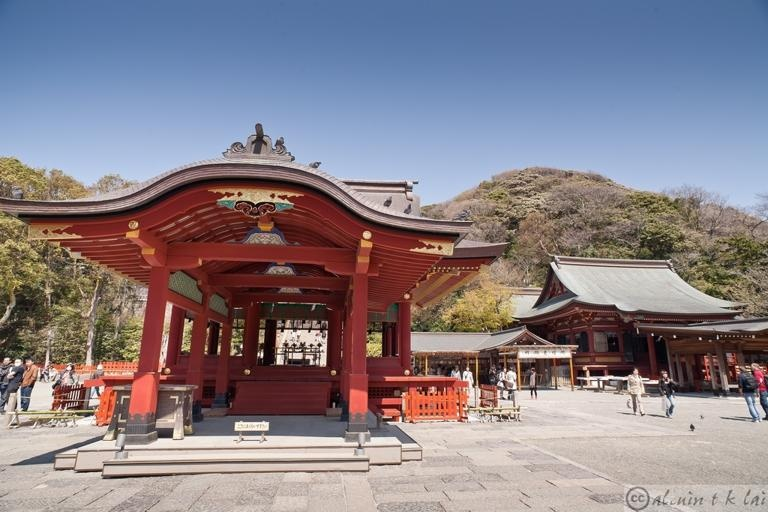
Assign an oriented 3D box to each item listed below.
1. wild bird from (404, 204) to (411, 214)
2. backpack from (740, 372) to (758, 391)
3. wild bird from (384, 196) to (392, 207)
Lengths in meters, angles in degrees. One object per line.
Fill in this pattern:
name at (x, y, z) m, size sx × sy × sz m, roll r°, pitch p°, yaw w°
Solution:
wild bird at (0.869, -1.768, 17.661) m, size 0.256 × 0.401 × 0.218 m, roll -1°, pitch -18°, yaw -10°
backpack at (13.712, 4.792, 17.981) m, size 0.503 × 0.751 × 0.464 m, roll -11°, pitch -19°, yaw 23°
wild bird at (0.118, -2.009, 17.698) m, size 0.114 × 0.327 × 0.399 m, roll 31°, pitch -43°, yaw -32°
